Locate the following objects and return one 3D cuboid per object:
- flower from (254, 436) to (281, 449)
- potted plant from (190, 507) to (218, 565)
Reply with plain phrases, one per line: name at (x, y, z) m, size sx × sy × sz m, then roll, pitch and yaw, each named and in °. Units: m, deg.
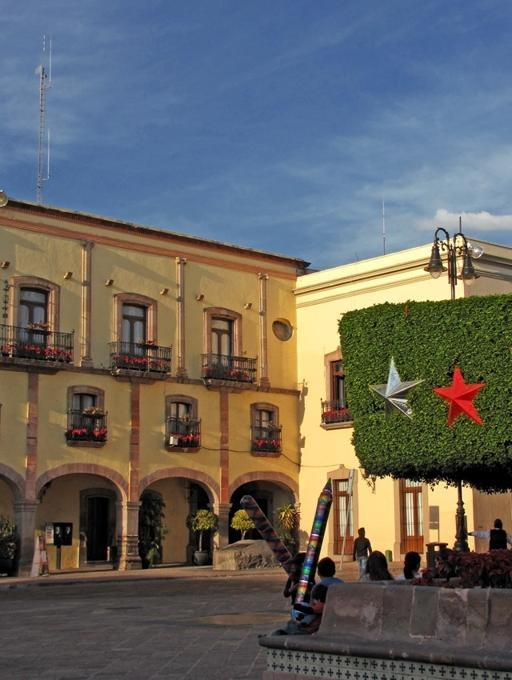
flower at (0.346, 3.378, 35.884) m, size 1.038 × 0.433 × 0.136 m, roll 5°, pitch -12°, yaw -37°
potted plant at (-1.616, 6.174, 34.866) m, size 0.826 × 1.713 × 2.408 m, roll -1°, pitch -10°, yaw -3°
